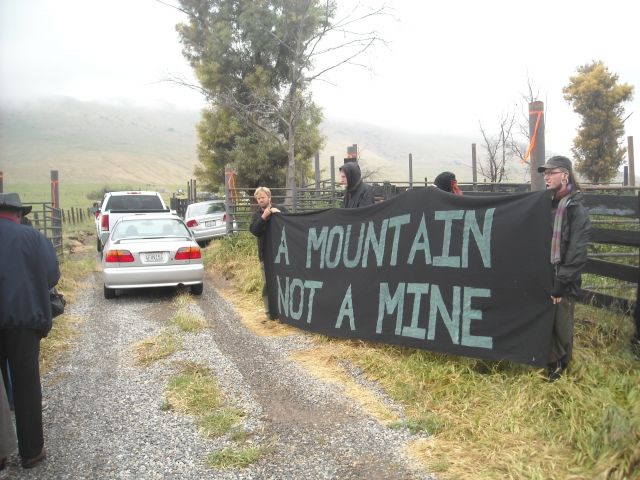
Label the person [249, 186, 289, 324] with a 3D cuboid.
[{"bbox_3d":[-1.032,0.226,10.297,0.470,2.451,0.766,-5,11,-22],"label":"person"}]

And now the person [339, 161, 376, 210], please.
[{"bbox_3d":[0.594,-0.903,9.186,0.529,0.759,0.711,-1,11,4],"label":"person"}]
